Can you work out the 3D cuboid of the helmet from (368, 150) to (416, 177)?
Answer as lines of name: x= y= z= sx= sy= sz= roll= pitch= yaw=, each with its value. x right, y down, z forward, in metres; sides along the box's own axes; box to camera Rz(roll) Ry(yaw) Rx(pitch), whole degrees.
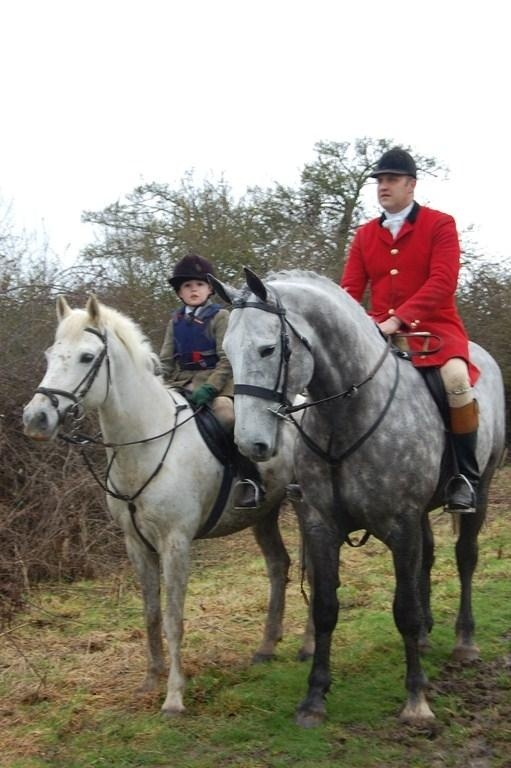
helmet: x=0.796 y=-1.295 z=4.836 sx=0.260 sy=0.195 sz=0.341 roll=-2 pitch=3 yaw=8

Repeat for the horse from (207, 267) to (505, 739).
horse: x=0.477 y=0.574 z=4.254 sx=1.422 sy=2.367 sz=0.667 roll=-5 pitch=4 yaw=-23
